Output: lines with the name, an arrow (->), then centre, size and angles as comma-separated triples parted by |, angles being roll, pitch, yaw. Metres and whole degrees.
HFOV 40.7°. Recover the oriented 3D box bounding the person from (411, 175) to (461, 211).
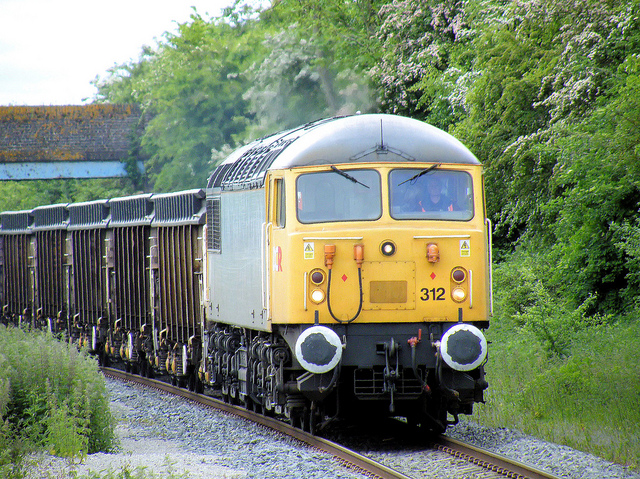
person -> 1.984, -0.769, 14.525 | 0.835, 0.672, 0.412 | -2, -3, 27
